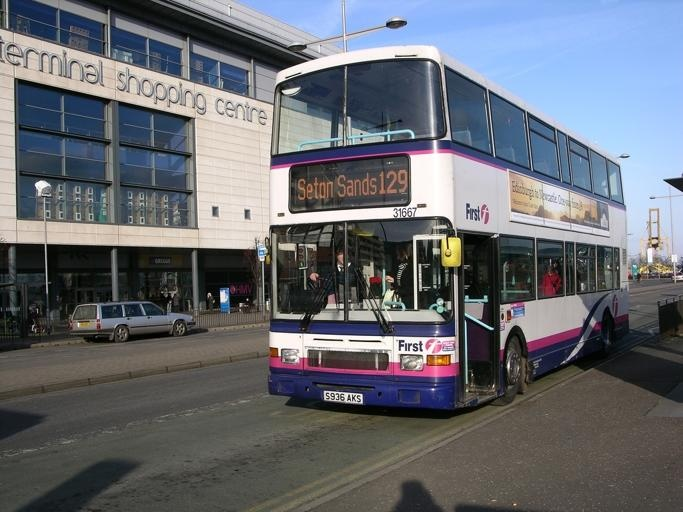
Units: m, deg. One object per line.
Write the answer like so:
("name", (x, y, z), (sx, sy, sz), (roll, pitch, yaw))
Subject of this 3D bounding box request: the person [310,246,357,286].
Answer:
("person", (-0.116, 0.218, 10.567), (0.663, 0.820, 0.489), (-1, 1, 12))

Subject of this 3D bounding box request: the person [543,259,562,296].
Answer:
("person", (4.599, 0.516, 13.744), (0.462, 0.935, 0.242), (-3, 8, -24))

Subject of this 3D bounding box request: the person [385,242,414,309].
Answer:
("person", (0.920, 0.399, 10.421), (0.414, 1.611, 0.325), (-7, 38, -3))

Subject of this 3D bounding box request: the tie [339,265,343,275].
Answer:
("tie", (0.000, 0.235, 10.538), (0.052, 0.121, 0.038), (0, -8, 14))
